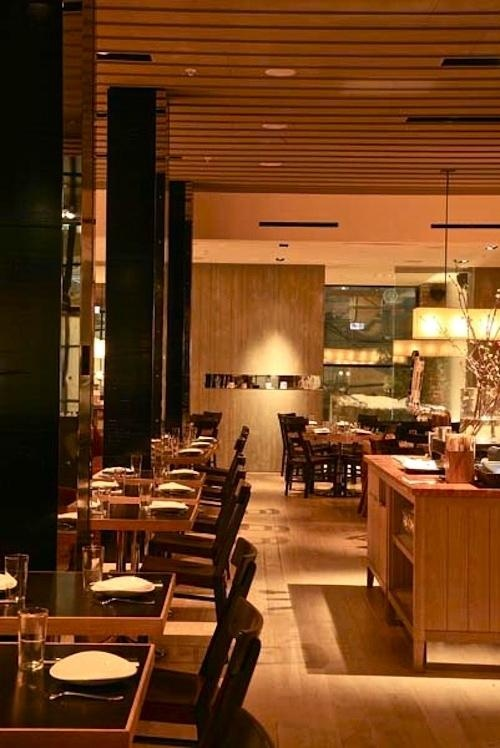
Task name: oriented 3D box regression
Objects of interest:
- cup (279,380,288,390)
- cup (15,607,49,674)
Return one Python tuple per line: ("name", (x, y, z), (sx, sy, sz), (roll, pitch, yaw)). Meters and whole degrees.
("cup", (0.621, 0.197, 12.430), (0.111, 0.176, 0.177), (1, 3, -17))
("cup", (-0.462, 0.561, 1.441), (0.055, 0.130, 0.115), (2, -2, -19))
